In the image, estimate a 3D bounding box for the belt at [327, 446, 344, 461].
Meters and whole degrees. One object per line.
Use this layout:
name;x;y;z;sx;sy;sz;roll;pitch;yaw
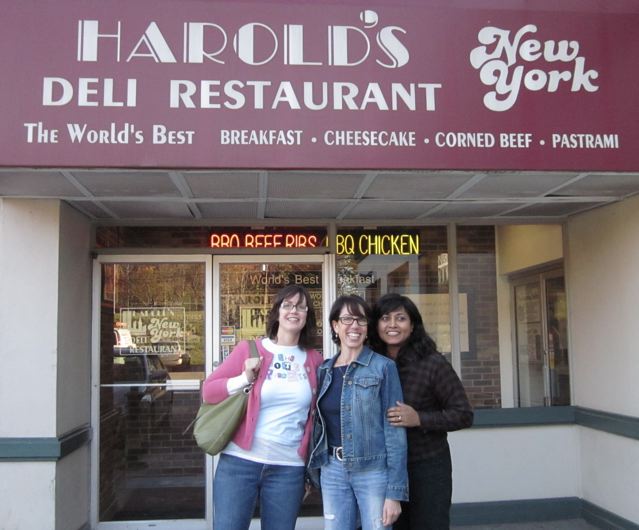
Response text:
belt;0.108;1.219;3.979;0.060;0.042;0.091;10;-32;7

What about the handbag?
handbag;-0.660;1.031;4.135;0.413;0.468;0.166;-6;-8;31
